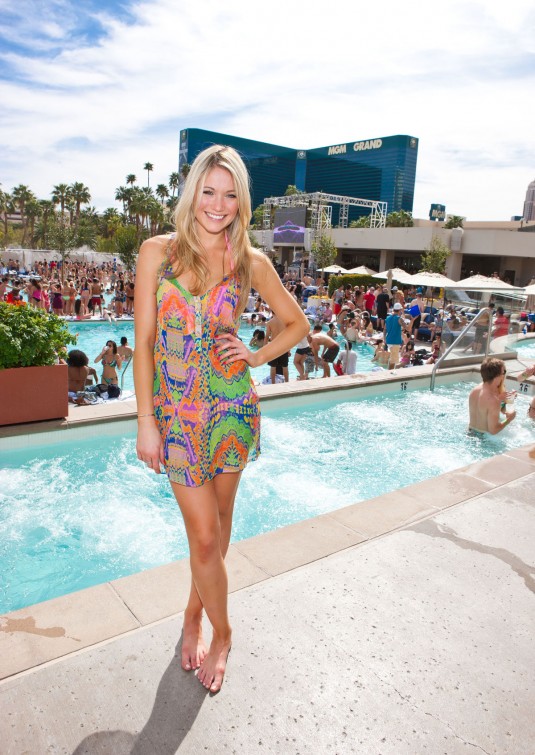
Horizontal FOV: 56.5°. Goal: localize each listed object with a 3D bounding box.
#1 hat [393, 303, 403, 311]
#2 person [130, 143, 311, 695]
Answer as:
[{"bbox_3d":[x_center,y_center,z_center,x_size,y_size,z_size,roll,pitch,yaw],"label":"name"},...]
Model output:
[{"bbox_3d":[3.889,-2.090,14.904,0.311,0.159,0.441,-1,23,27],"label":"hat"},{"bbox_3d":[-0.178,0.128,1.642,0.354,1.701,0.547,9,7,35],"label":"person"}]
